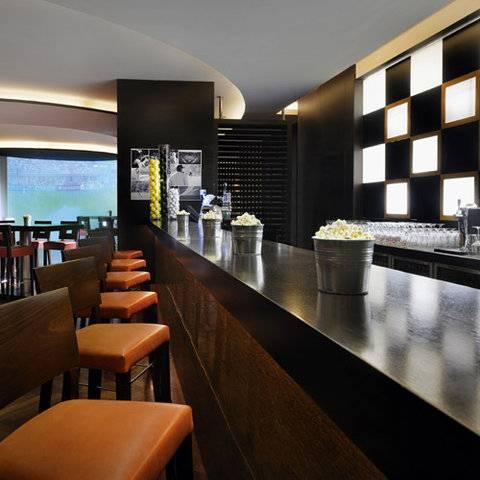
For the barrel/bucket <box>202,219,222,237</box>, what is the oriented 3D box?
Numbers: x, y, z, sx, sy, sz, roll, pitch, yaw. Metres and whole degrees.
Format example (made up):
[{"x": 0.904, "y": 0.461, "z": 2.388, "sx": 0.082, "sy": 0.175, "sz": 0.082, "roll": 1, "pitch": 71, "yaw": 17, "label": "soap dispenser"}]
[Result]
[{"x": -0.179, "y": -0.079, "z": 2.508, "sx": 0.145, "sy": 0.124, "sz": 0.150, "roll": 0, "pitch": 4, "yaw": 0, "label": "barrel/bucket"}]

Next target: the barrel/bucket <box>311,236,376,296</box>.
[{"x": 0.253, "y": 0.043, "z": 0.934, "sx": 0.139, "sy": 0.150, "sz": 0.173, "roll": 3, "pitch": 16, "yaw": 25, "label": "barrel/bucket"}]

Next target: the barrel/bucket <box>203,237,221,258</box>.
[{"x": -0.144, "y": 0.037, "z": 1.972, "sx": 0.072, "sy": 0.150, "sz": 0.082, "roll": -4, "pitch": 8, "yaw": -32, "label": "barrel/bucket"}]

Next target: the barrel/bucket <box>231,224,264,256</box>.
[{"x": 0.031, "y": -0.006, "z": 1.657, "sx": 0.130, "sy": 0.134, "sz": 0.143, "roll": 0, "pitch": 4, "yaw": 0, "label": "barrel/bucket"}]
